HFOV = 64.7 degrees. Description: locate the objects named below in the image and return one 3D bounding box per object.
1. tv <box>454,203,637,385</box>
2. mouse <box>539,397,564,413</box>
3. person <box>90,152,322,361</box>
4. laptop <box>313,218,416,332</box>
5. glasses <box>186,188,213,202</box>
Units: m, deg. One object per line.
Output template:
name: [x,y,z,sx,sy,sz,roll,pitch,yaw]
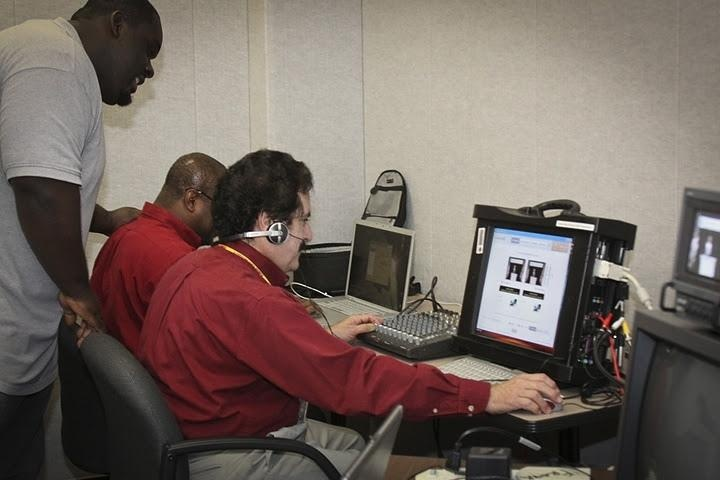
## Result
tv: [0.689,0.215,2.086,0.372,0.651,0.561,-4,10,-37]
mouse: [0.631,0.544,1.868,0.049,0.023,0.068,-1,2,-26]
person: [-0.825,0.076,2.588,0.668,0.895,1.072,-2,13,-35]
laptop: [0.076,0.157,2.968,0.477,0.441,0.568,-3,9,-35]
glasses: [-0.717,-0.199,2.514,0.085,0.026,0.081,21,0,3]
